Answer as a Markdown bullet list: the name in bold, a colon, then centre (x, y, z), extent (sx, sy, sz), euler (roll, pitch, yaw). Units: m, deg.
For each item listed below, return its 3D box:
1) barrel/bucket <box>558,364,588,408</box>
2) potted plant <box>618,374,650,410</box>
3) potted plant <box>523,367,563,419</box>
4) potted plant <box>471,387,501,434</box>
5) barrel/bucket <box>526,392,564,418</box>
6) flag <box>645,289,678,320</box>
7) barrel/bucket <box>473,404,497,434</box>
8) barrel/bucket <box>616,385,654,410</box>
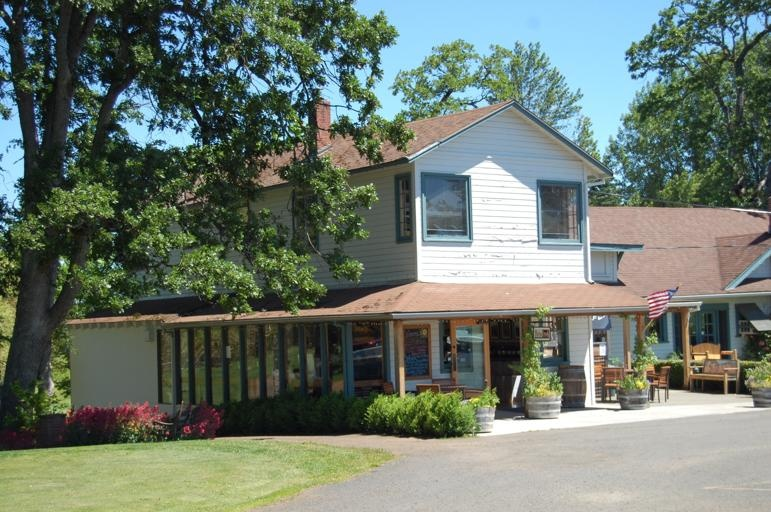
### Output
- **barrel/bucket**: centre (6.723, 4.757, 34.907), extent (1.017, 1.400, 1.017), euler (1, -4, 0)
- **potted plant**: centre (8.789, 4.838, 33.998), extent (1.120, 1.143, 1.165), euler (0, -4, 11)
- **potted plant**: centre (5.263, 4.680, 32.358), extent (1.546, 1.564, 1.380), euler (0, -11, -21)
- **potted plant**: centre (3.071, 4.884, 30.211), extent (1.113, 1.535, 1.228), euler (2, -6, -2)
- **barrel/bucket**: centre (5.188, 4.983, 31.841), extent (0.857, 0.521, 0.876), euler (-1, -8, 0)
- **flag**: centre (10.254, 1.761, 35.714), extent (1.117, 1.026, 0.156), euler (-14, -19, 26)
- **barrel/bucket**: centre (3.052, 5.057, 29.603), extent (0.759, 0.808, 0.455), euler (-3, 4, -20)
- **barrel/bucket**: centre (8.703, 4.947, 33.684), extent (0.799, 0.532, 0.874), euler (1, -6, 0)
